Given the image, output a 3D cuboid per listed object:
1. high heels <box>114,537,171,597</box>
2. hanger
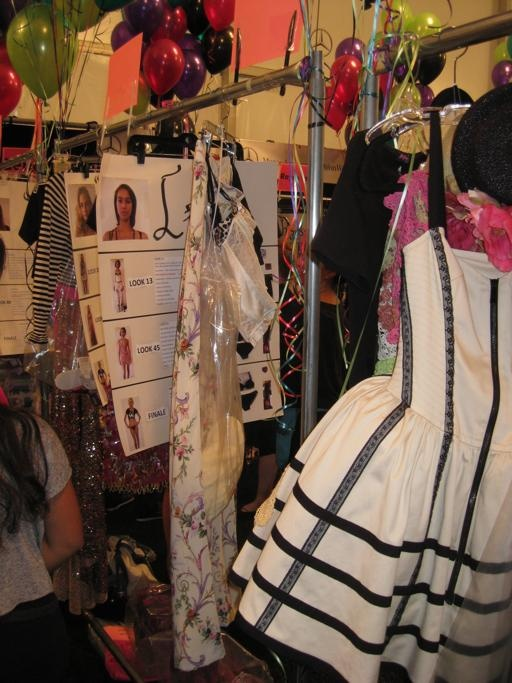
[{"bbox_3d":[-0.397,0.787,1.983,0.150,0.204,0.180,-6,17,-35],"label":"high heels"},{"bbox_3d":[0.269,-0.453,0.915,0.139,0.247,0.191,-14,24,-34],"label":"hanger"}]
